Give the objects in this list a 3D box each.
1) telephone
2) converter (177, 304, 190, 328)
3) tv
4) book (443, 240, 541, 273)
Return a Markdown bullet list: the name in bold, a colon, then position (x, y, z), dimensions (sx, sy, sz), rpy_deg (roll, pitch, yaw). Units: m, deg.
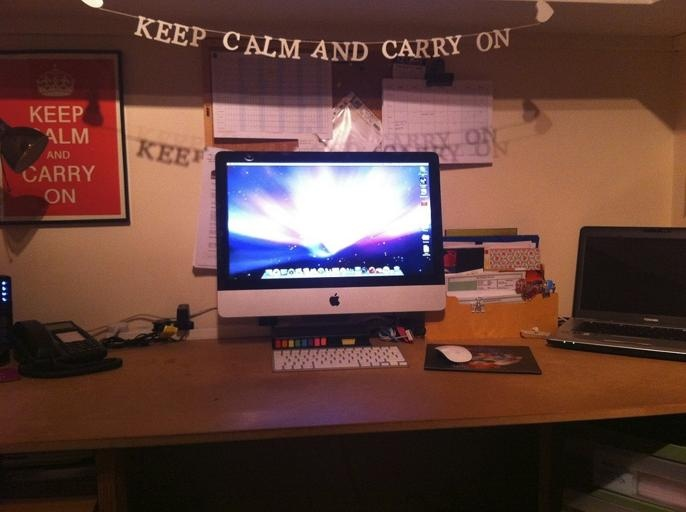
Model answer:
- **telephone**: position (-0.910, 0.292, 1.976), dimensions (0.181, 0.078, 0.235), rpy_deg (-4, 19, -31)
- **converter**: position (-0.579, 0.221, 2.239), dimensions (0.035, 0.070, 0.067), rpy_deg (0, 12, -3)
- **tv**: position (-0.041, -0.038, 2.117), dimensions (0.673, 0.520, 0.170), rpy_deg (-1, 5, -6)
- **book**: position (0.550, 0.015, 2.261), dimensions (0.285, 0.121, 0.066), rpy_deg (0, -3, 0)
